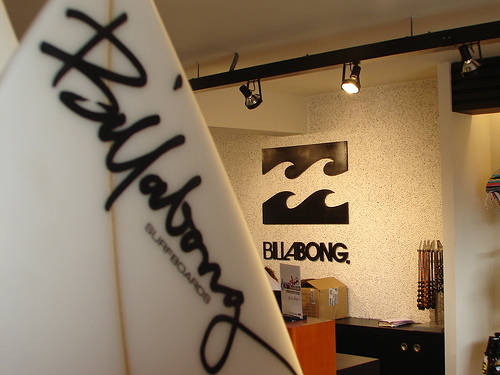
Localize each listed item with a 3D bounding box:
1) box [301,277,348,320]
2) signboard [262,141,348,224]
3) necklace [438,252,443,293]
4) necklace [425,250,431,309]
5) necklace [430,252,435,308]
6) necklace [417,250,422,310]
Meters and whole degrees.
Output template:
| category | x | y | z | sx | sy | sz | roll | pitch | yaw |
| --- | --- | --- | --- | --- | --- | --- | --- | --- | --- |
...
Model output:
| category | x | y | z | sx | sy | sz | roll | pitch | yaw |
| --- | --- | --- | --- | --- | --- | --- | --- | --- | --- |
| box | 0.767 | 1.176 | 4.718 | 0.469 | 0.433 | 0.489 | -9 | -5 | 43 |
| signboard | 0.685 | -0.051 | 5.238 | 0.880 | 0.818 | 0.016 | 0 | 0 | 42 |
| necklace | 1.727 | 0.823 | 4.061 | 0.046 | 0.226 | 0.029 | 6 | -10 | -22 |
| necklace | 1.647 | 0.848 | 4.145 | 0.044 | 0.524 | 0.079 | -2 | -10 | 21 |
| necklace | 1.686 | 0.858 | 4.144 | 0.035 | 0.494 | 0.106 | -2 | -10 | 22 |
| necklace | 1.611 | 0.874 | 4.255 | 0.051 | 0.540 | 0.185 | -2 | -10 | 20 |
